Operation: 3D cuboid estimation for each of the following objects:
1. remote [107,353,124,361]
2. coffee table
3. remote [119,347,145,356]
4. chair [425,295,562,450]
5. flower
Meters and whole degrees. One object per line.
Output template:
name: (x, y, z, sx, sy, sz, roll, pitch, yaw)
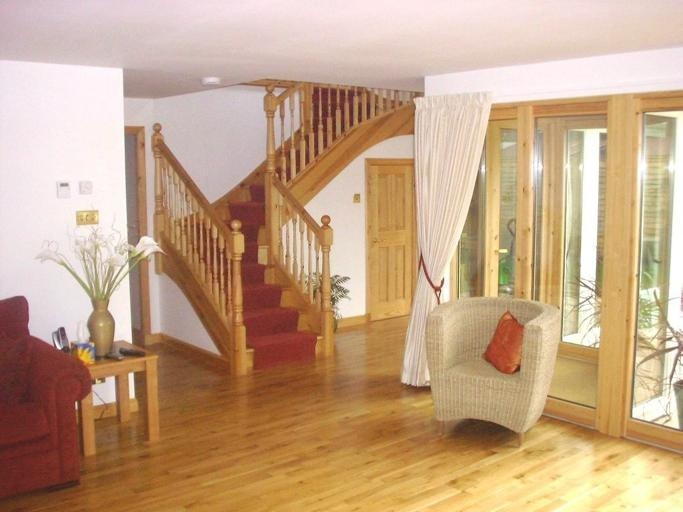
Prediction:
remote: (-1.772, 0.796, 4.398, 0.068, 0.016, 0.065, 9, 8, 27)
coffee table: (-1.775, 1.131, 4.713, 0.803, 0.706, 0.771, -5, 12, -25)
remote: (-1.680, 0.772, 4.476, 0.160, 0.042, 0.213, -7, 11, -35)
chair: (1.256, 0.899, 4.706, 1.004, 0.899, 0.841, 6, 10, 27)
flower: (-1.999, 0.100, 4.601, 0.963, 0.514, 0.970, 11, 11, 28)
